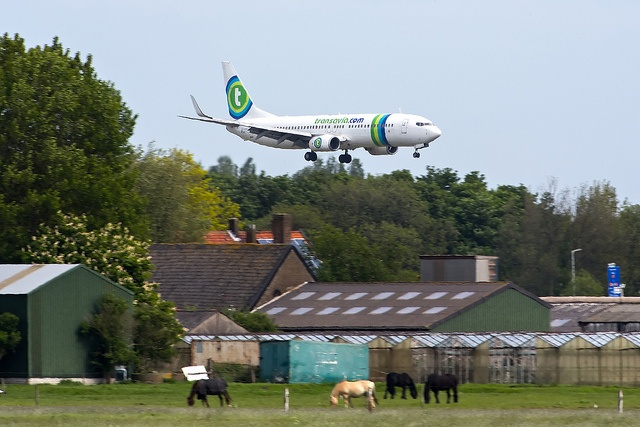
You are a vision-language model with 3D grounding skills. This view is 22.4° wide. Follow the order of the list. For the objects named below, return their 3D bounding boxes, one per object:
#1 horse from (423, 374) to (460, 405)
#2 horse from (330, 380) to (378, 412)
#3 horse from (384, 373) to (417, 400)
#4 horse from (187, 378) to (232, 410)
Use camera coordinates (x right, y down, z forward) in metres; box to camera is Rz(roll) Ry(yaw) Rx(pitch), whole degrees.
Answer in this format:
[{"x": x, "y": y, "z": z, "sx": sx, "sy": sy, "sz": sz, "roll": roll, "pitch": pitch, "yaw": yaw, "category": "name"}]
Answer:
[{"x": 6.181, "y": 8.829, "z": 80.617, "sx": 0.767, "sy": 1.440, "sz": 2.596, "roll": 15, "pitch": -15, "yaw": -34, "category": "horse"}, {"x": 1.588, "y": 8.913, "z": 78.213, "sx": 2.178, "sy": 1.397, "sz": 0.853, "roll": -1, "pitch": -11, "yaw": 0, "category": "horse"}, {"x": 3.991, "y": 8.930, "z": 82.720, "sx": 0.852, "sy": 1.289, "sz": 2.801, "roll": -9, "pitch": -14, "yaw": 39, "category": "horse"}, {"x": -5.449, "y": 8.824, "z": 78.373, "sx": 0.918, "sy": 1.256, "sz": 3.066, "roll": -16, "pitch": -12, "yaw": 36, "category": "horse"}]
